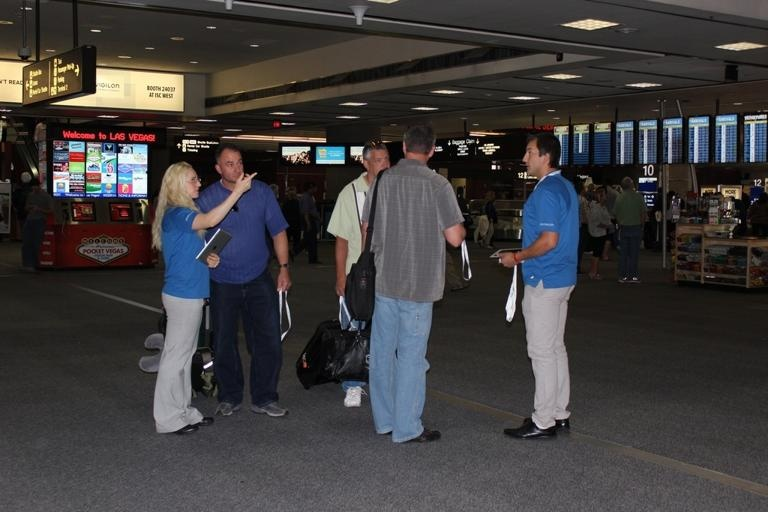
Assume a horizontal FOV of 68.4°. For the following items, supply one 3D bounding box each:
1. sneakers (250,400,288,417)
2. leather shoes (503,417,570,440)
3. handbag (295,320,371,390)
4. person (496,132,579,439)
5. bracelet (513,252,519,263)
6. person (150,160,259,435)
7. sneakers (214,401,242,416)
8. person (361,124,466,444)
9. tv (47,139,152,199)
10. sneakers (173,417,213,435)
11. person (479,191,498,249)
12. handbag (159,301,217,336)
[{"bbox_3d":[-1.017,1.393,5.122,0.271,0.105,0.139,-1,2,22],"label":"sneakers"},{"bbox_3d":[1.300,1.468,4.756,0.364,0.124,0.225,2,0,9],"label":"leather shoes"},{"bbox_3d":[-0.447,0.955,5.321,0.754,0.686,0.394,8,26,-12],"label":"handbag"},{"bbox_3d":[1.332,0.235,4.786,0.560,2.522,0.698,2,9,17],"label":"person"},{"bbox_3d":[1.096,0.001,4.656,0.042,0.067,0.052,8,-6,2],"label":"bracelet"},{"bbox_3d":[-1.627,0.336,4.792,0.689,2.244,0.494,-4,9,-19],"label":"person"},{"bbox_3d":[-1.418,1.386,5.126,0.110,0.082,0.189,-3,-12,1],"label":"sneakers"},{"bbox_3d":[0.245,0.235,4.580,0.719,2.544,0.426,-2,9,-7],"label":"person"},{"bbox_3d":[-8.272,-2.526,16.298,2.194,1.311,0.094,0,-3,-26],"label":"tv"},{"bbox_3d":[-1.596,1.436,4.825,0.256,0.094,0.092,-18,21,-36],"label":"sneakers"},{"bbox_3d":[4.162,-1.478,22.422,0.512,2.116,1.596,1,9,11],"label":"person"},{"bbox_3d":[-1.682,0.543,4.905,0.306,0.404,0.510,4,-3,-34],"label":"handbag"}]
